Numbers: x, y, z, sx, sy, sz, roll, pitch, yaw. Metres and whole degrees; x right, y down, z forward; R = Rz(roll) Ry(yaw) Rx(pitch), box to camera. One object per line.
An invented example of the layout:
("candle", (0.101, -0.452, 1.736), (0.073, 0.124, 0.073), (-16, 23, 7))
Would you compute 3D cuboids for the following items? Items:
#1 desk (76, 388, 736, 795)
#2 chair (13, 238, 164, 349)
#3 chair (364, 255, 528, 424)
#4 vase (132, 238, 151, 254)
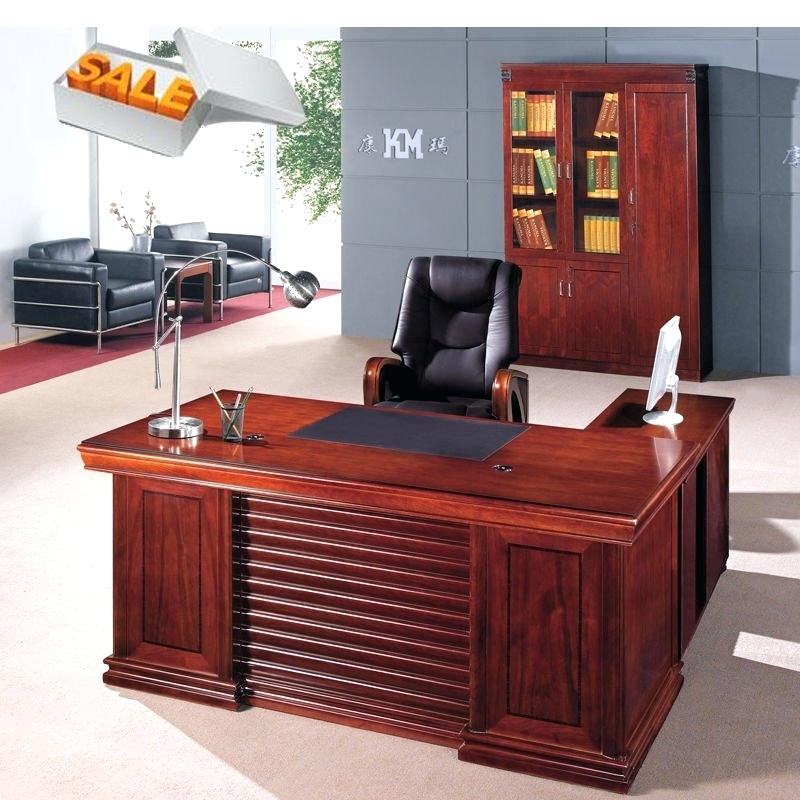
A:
("desk", (0.048, 0.635, 3.155), (2.396, 1.046, 1.163), (5, 14, 14))
("chair", (-3.402, -1.180, 8.555), (1.242, 1.200, 1.567), (6, 14, 20))
("chair", (0.314, -0.470, 5.022), (0.905, 1.200, 1.110), (6, 10, 20))
("vase", (-3.124, -1.894, 9.404), (0.224, 0.207, 0.280), (0, 7, -4))
